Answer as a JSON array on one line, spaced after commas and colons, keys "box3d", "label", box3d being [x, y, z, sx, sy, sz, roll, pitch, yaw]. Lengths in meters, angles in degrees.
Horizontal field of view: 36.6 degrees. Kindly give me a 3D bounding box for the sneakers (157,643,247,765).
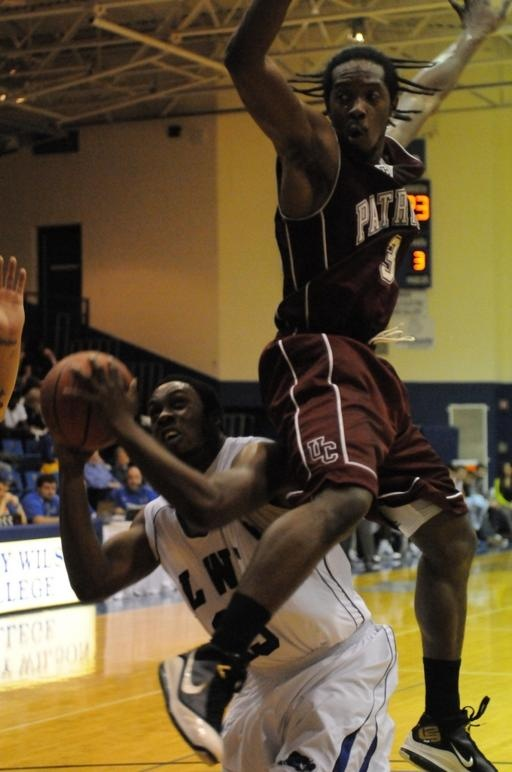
[{"box3d": [-0.098, 0.568, 1.408, 0.129, 0.230, 0.232, 1, -7, -14], "label": "sneakers"}]
